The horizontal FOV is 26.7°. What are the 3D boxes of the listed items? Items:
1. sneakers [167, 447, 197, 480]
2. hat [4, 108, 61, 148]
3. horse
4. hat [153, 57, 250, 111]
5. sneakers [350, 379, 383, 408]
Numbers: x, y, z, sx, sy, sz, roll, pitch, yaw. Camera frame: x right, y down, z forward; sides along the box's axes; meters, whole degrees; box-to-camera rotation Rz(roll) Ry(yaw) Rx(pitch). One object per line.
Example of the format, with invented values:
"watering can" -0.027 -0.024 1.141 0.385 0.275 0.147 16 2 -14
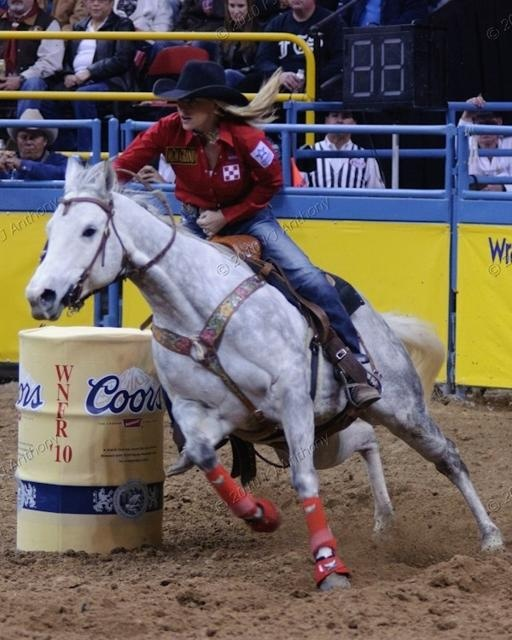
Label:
"sneakers" -0.367 0.692 5.196 0.128 0.168 0.310 2 2 -4
"hat" -1.922 -1.705 9.505 0.415 0.147 0.417 -2 25 -5
"horse" 0.034 0.270 5.391 2.562 2.021 1.117 0 3 -35
"hat" -0.272 -1.142 5.369 0.408 0.126 0.299 2 8 -24
"sneakers" 0.542 0.375 5.449 0.099 0.078 0.198 -27 -6 0
